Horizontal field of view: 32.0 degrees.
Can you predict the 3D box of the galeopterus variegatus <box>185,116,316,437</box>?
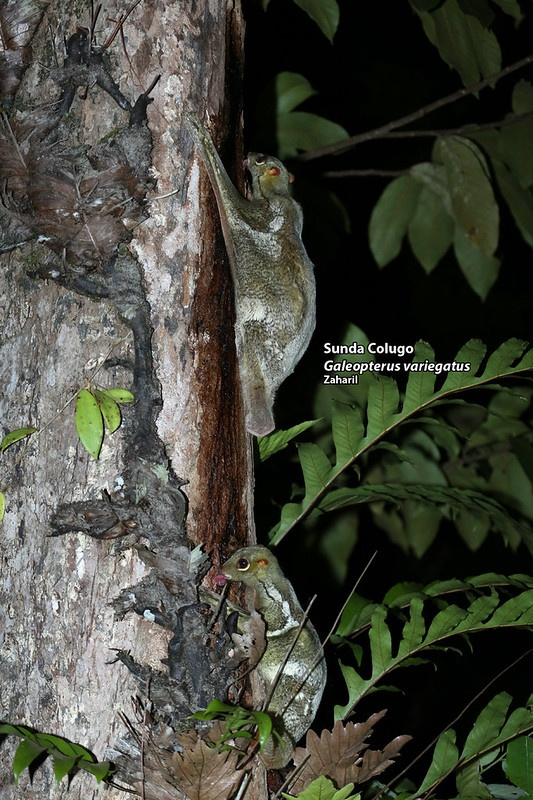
[{"bbox_3d":[-0.010,-0.160,1.397,0.199,0.154,0.491,-5,86,3],"label":"galeopterus variegatus"}]
